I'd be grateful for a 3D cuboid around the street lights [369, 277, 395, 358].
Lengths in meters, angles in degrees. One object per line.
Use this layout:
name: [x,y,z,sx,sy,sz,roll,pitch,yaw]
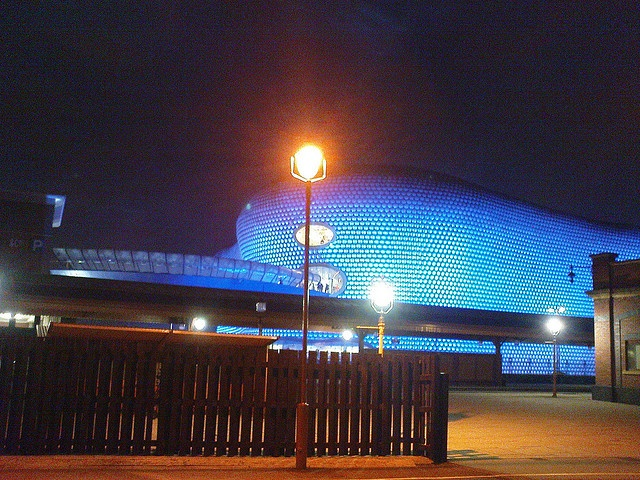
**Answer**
street lights: [1.927,2.606,20.157,0.789,3.066,0.782,-6,13,-29]
